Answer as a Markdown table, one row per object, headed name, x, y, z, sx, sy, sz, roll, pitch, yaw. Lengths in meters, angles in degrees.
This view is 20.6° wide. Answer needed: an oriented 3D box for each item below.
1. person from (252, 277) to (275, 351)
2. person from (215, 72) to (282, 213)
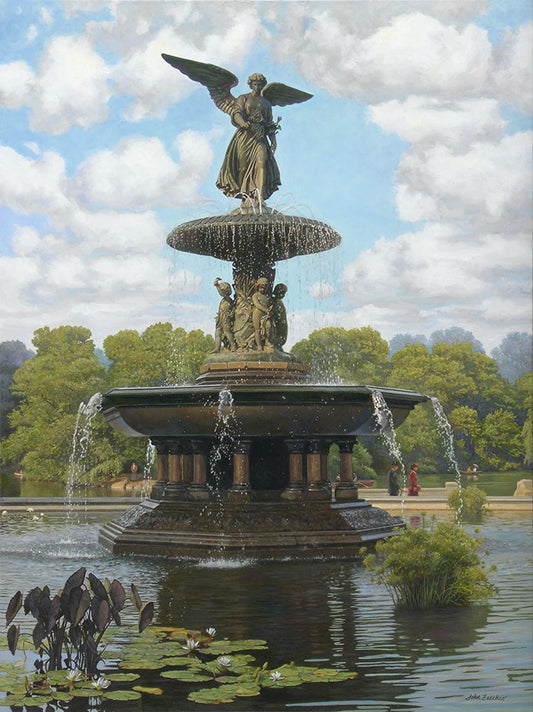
| name | x | y | z | sx | sy | sz | roll | pitch | yaw |
| --- | --- | --- | --- | --- | --- | --- | --- | --- | --- |
| person | -0.064 | -0.496 | 17.602 | 0.226 | 0.927 | 0.481 | -1 | -7 | 1 |
| person | -0.223 | -2.701 | 18.456 | 0.803 | 1.842 | 0.791 | 0 | -7 | -6 |
